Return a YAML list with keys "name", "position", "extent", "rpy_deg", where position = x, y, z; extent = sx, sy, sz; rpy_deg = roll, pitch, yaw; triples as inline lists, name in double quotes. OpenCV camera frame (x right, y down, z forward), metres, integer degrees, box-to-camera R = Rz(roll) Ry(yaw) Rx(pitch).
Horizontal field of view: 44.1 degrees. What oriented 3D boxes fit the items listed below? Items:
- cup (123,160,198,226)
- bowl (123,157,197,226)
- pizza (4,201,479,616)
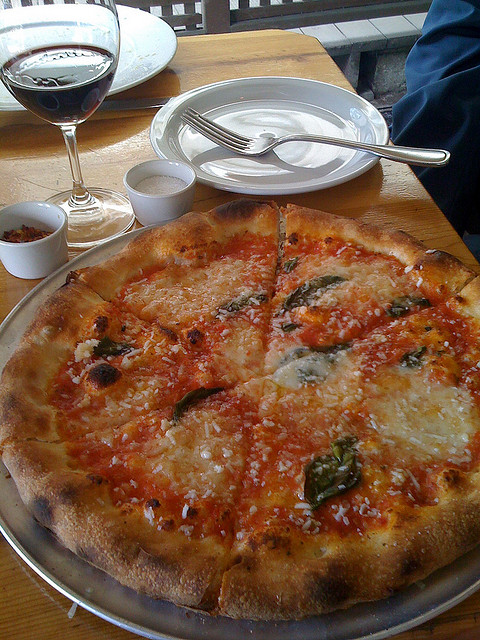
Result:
- name: "cup"
  position: [-0.190, -0.301, 1.405]
  extent: [0.162, 0.096, 0.152]
  rpy_deg: [1, 48, -1]
- name: "bowl"
  position: [-0.182, -0.312, 1.391]
  extent: [0.195, 0.113, 0.171]
  rpy_deg: [1, 49, 1]
- name: "pizza"
  position: [0.005, 0.083, 0.996]
  extent: [0.765, 0.150, 0.772]
  rpy_deg: [9, 37, 12]
